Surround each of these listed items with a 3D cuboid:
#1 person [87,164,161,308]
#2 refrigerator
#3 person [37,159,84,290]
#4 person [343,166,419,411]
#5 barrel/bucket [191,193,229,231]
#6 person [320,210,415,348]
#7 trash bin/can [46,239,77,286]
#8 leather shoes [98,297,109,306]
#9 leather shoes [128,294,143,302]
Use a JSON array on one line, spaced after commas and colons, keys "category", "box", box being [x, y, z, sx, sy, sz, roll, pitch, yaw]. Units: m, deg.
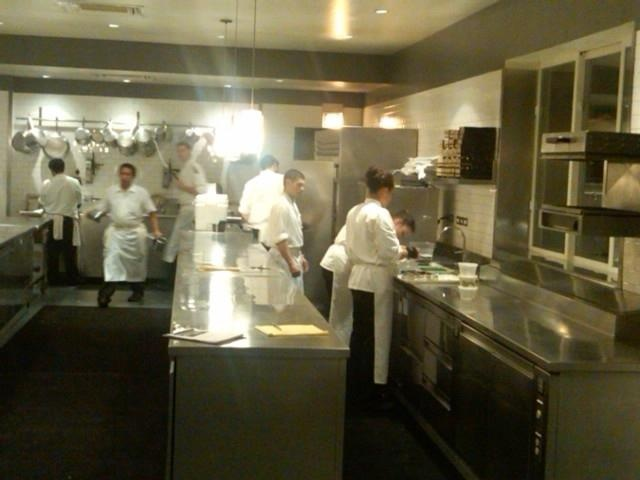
[{"category": "person", "box": [-2.605, -0.089, 7.501, 0.881, 1.865, 0.543, -3, 8, -23]}, {"category": "refrigerator", "box": [0.539, -0.703, 6.811, 1.133, 1.646, 1.149, 10, 27, 16]}, {"category": "person", "box": [-3.518, -0.113, 7.513, 0.524, 1.518, 0.313, -3, 8, -19]}, {"category": "person", "box": [0.459, 0.334, 4.665, 0.481, 1.874, 0.954, 0, 8, 3]}, {"category": "barrel/bucket", "box": [-1.253, -0.318, 6.262, 0.393, 0.402, 0.398, 0, 2, 0]}, {"category": "person", "box": [0.521, 0.306, 5.000, 0.538, 1.656, 0.535, -7, 9, -8]}, {"category": "trash bin/can", "box": [-3.540, 0.249, 7.566, 0.342, 0.684, 0.219, -4, 27, -31]}, {"category": "leather shoes", "box": [-2.845, 0.811, 7.245, 0.115, 0.086, 0.102, -1, -2, 41]}, {"category": "leather shoes", "box": [-2.506, 0.785, 7.501, 0.164, 0.108, 0.095, 4, -2, -15]}]
